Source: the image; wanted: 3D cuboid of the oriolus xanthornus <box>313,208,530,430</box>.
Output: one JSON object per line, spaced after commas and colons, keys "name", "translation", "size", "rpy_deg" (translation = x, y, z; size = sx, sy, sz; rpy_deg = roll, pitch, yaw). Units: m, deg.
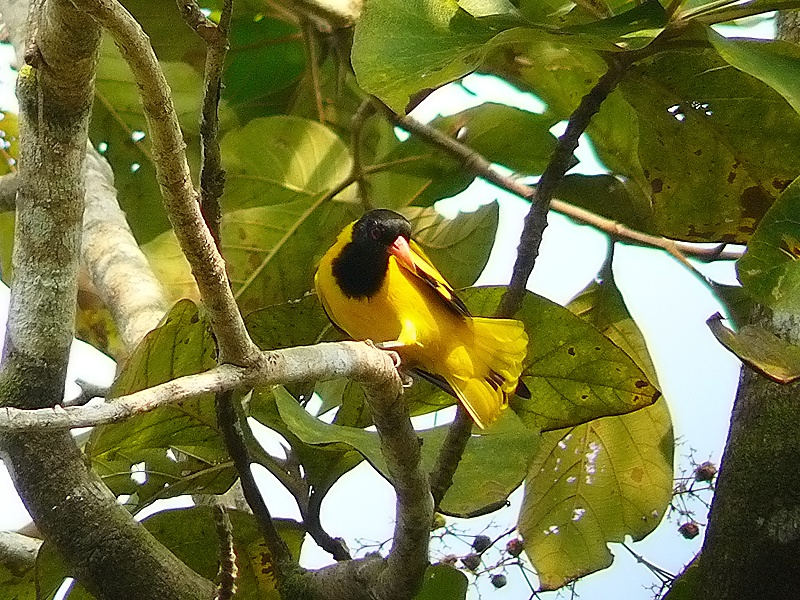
{"name": "oriolus xanthornus", "translation": [0.088, 0.006, 3.217], "size": [0.526, 0.478, 0.318], "rpy_deg": [19, -32, -7]}
